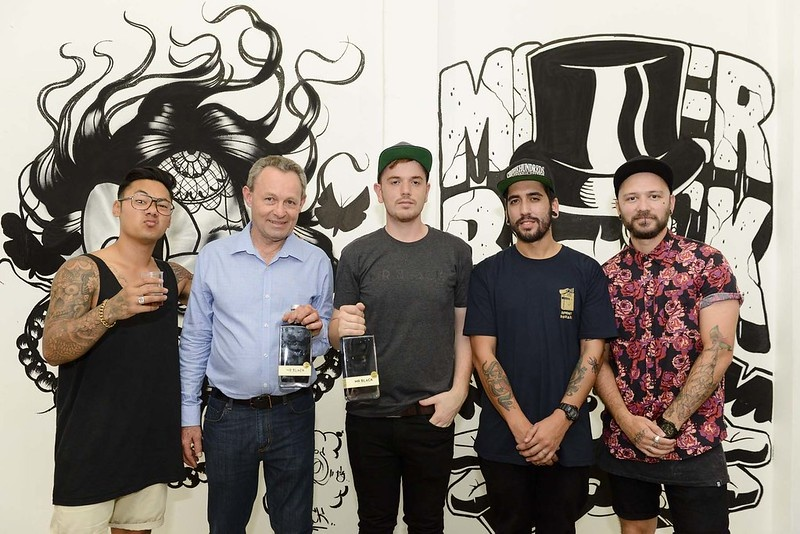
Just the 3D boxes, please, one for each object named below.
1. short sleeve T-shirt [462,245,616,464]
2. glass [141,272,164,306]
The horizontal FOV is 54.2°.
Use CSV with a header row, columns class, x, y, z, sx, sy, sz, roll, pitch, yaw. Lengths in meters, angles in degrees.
class,x,y,z,sx,sy,sz,roll,pitch,yaw
short sleeve T-shirt,0.951,0.452,5.205,0.945,1.445,0.533,3,42,17
glass,-1.522,0.120,4.802,0.147,0.244,0.140,10,10,42
